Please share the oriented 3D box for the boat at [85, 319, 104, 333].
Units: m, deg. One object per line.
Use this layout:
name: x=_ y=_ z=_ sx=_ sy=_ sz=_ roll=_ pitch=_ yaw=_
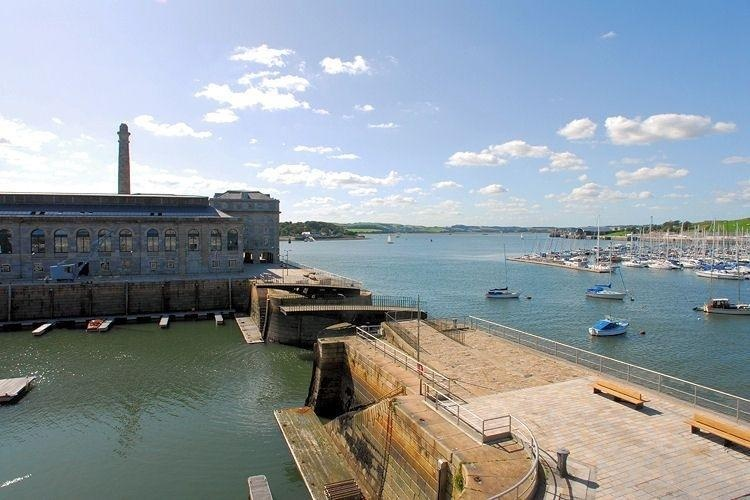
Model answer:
boat: x=-41.126 y=11.169 z=66.000 sx=1.677 sy=1.119 sz=2.248 roll=1 pitch=12 yaw=-45
